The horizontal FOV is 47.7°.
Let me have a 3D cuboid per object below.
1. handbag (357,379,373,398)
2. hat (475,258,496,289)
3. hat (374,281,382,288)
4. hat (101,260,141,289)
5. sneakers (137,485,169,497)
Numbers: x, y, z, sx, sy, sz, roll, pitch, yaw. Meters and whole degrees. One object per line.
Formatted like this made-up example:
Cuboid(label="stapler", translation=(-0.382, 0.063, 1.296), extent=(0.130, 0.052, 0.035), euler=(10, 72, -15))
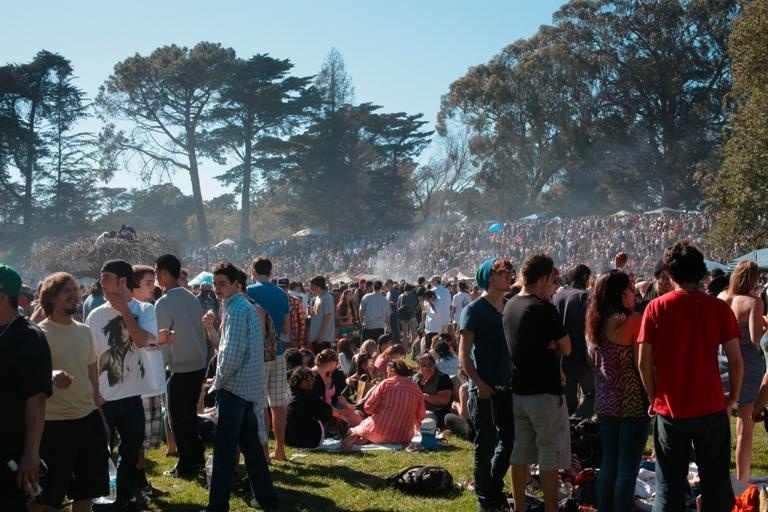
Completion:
Cuboid(label="handbag", translation=(-0.350, 2.532, 16.427), extent=(0.297, 0.353, 0.664), euler=(-3, -12, -4))
Cuboid(label="hat", translation=(1.472, 0.262, 12.493), extent=(0.317, 0.447, 0.467), euler=(-6, -11, 7))
Cuboid(label="hat", translation=(-0.136, 0.678, 20.303), extent=(0.154, 0.145, 0.224), euler=(11, -7, 5))
Cuboid(label="hat", translation=(-3.714, 0.214, 12.274), extent=(0.458, 0.371, 0.349), euler=(12, 4, -29))
Cuboid(label="sneakers", translation=(-3.360, 3.464, 12.696), extent=(0.432, 0.207, 0.156), euler=(1, 3, -4))
